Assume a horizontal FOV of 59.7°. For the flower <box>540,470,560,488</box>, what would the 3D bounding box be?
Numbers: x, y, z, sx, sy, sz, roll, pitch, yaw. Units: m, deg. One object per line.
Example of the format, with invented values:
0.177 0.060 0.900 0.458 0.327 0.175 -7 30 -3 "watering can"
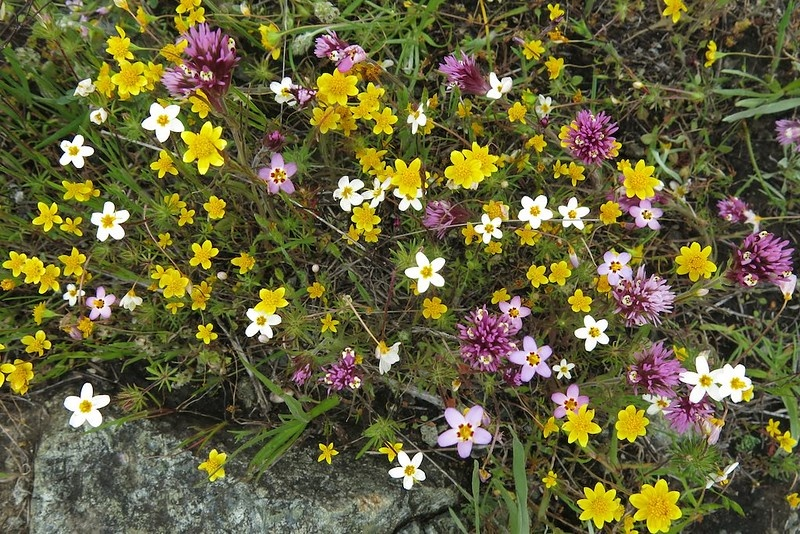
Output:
1.132 1.599 5.277 0.118 0.061 0.144 -9 98 4 "flower"
